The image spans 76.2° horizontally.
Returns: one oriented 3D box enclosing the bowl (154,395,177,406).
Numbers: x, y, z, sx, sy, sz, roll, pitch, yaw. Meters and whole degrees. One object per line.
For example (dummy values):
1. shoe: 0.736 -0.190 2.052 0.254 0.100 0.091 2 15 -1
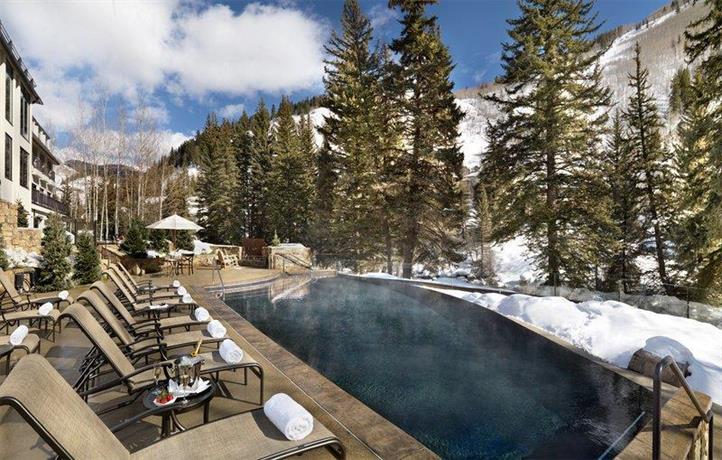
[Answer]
1. bowl: -7.411 6.466 17.356 0.518 0.171 0.471 -2 -9 0
